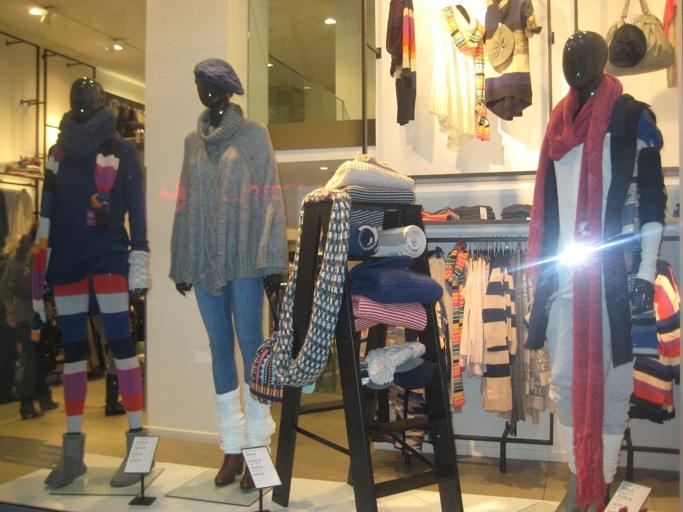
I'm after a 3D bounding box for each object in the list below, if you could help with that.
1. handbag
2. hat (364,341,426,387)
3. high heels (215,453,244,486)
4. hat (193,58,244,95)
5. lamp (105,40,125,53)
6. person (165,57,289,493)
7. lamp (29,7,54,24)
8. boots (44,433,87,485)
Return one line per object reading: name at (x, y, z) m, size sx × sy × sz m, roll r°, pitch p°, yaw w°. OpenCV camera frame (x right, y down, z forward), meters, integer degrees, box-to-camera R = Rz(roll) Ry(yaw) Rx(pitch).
handbag at (1.722, -1.277, 3.826) m, size 0.219 × 0.434 × 0.397 m, roll -17°, pitch 14°, yaw -41°
hat at (0.276, 0.519, 3.142) m, size 0.383 × 0.178 × 0.176 m, roll 0°, pitch -1°, yaw -34°
high heels at (-0.605, 1.149, 3.562) m, size 0.076 × 0.169 × 0.225 m, roll 0°, pitch -3°, yaw 26°
hat at (-0.659, -0.992, 3.538) m, size 0.213 × 0.119 × 0.175 m, roll 7°, pitch 28°, yaw -45°
lamp at (-1.306, -1.221, 3.789) m, size 0.081 × 0.059 × 0.061 m, roll -10°, pitch -6°, yaw 9°
person at (-0.606, 0.087, 3.579) m, size 0.674 × 1.750 × 0.347 m, roll -1°, pitch 0°, yaw 35°
lamp at (-1.638, -1.336, 3.582) m, size 0.073 × 0.083 × 0.100 m, roll 4°, pitch -6°, yaw 0°
boots at (-1.520, 1.133, 3.627) m, size 0.109 × 0.254 × 0.251 m, roll 6°, pitch 12°, yaw 24°
